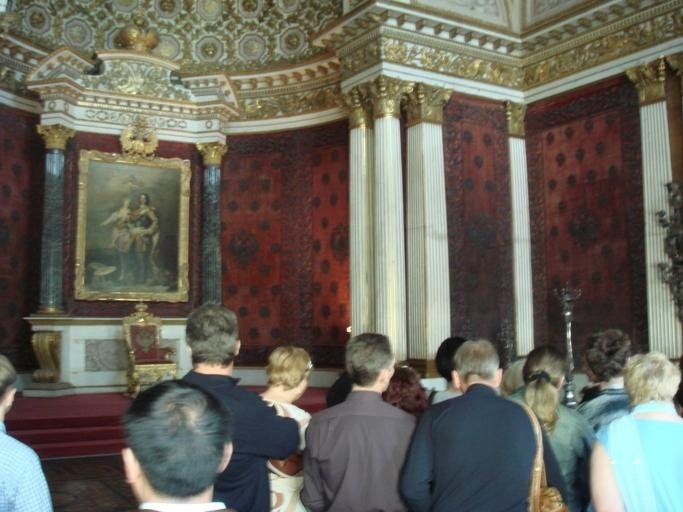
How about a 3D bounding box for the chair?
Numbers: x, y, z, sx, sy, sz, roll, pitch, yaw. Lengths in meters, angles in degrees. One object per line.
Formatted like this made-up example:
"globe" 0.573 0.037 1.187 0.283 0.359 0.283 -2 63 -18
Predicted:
"chair" -3.076 1.465 10.528 0.841 1.235 0.809 3 3 41
